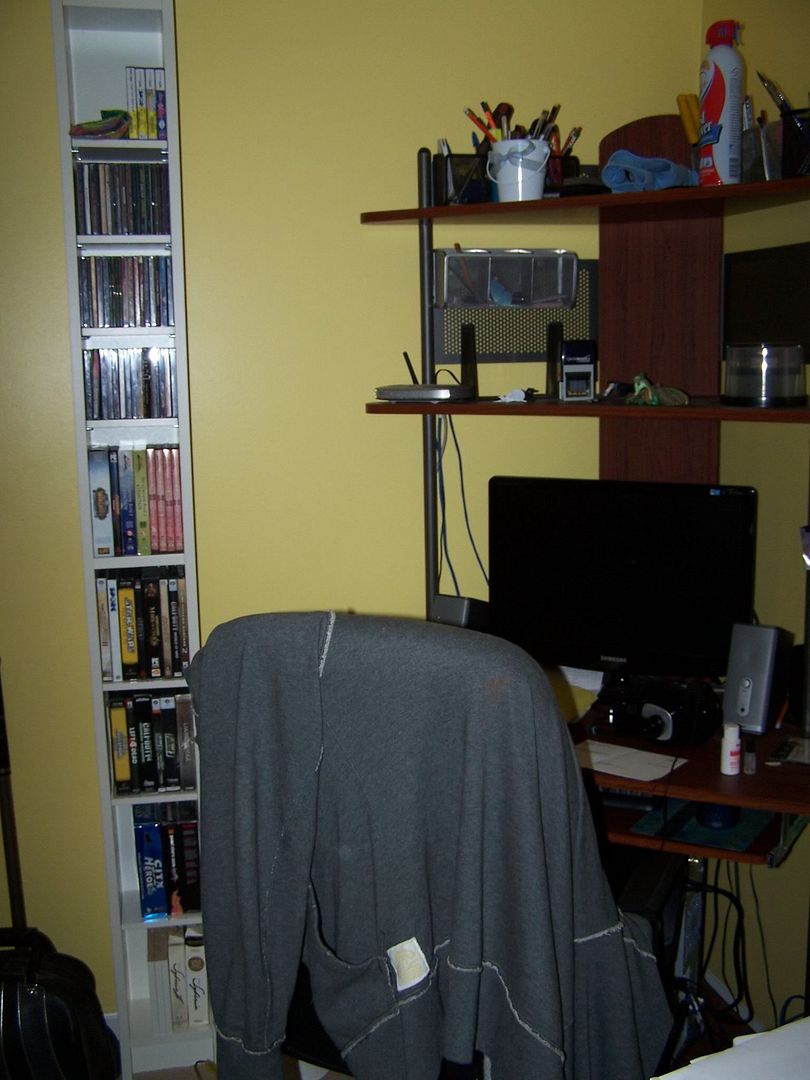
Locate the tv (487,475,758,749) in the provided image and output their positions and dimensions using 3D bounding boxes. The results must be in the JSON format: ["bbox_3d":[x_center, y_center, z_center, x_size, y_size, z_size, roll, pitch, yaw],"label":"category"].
[{"bbox_3d":[0.409,0.128,1.743,0.358,0.425,0.138,3,5,38],"label":"tv"}]

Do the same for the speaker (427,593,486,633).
[{"bbox_3d":[0.117,0.140,2.046,0.100,0.077,0.079,6,5,10],"label":"speaker"}]

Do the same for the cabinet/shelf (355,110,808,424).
[{"bbox_3d":[0.341,-0.519,1.832,0.837,0.579,0.517,3,11,33],"label":"cabinet/shelf"}]

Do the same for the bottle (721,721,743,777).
[{"bbox_3d":[0.534,0.342,1.589,0.037,0.077,0.047,-2,9,8],"label":"bottle"}]
